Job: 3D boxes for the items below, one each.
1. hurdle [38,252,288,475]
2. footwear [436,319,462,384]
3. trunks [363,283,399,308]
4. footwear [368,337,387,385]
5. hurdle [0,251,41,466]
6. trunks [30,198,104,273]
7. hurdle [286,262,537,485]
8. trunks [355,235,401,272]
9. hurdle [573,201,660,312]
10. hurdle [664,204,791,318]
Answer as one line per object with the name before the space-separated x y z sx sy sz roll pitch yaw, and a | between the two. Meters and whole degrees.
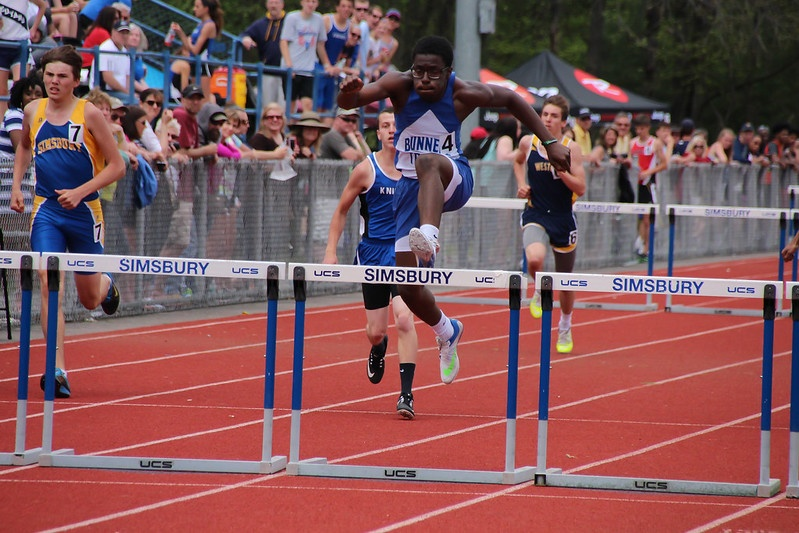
hurdle | -2.225 0.917 10.320 1.663 1.344 0.591 3 2 4
footwear | 0.392 0.740 9.803 0.196 0.579 0.256 10 9 39
trunks | -0.186 0.256 10.076 0.355 0.321 0.217 -1 -6 -16
footwear | -0.217 0.864 10.299 0.151 0.446 0.179 6 9 -9
hurdle | -2.922 0.716 8.700 0.327 1.623 0.285 3 4 44
trunks | -2.830 -0.268 9.551 0.632 0.757 0.452 -1 6 -32
hurdle | 0.092 1.000 10.035 1.641 1.335 0.677 1 -3 1
trunks | -0.214 -0.118 10.201 0.430 0.273 0.233 3 -13 11
hurdle | 2.957 -0.173 15.658 1.654 1.472 0.535 1 -4 -7
hurdle | 4.608 -0.108 16.177 1.771 1.464 0.634 1 -5 0
